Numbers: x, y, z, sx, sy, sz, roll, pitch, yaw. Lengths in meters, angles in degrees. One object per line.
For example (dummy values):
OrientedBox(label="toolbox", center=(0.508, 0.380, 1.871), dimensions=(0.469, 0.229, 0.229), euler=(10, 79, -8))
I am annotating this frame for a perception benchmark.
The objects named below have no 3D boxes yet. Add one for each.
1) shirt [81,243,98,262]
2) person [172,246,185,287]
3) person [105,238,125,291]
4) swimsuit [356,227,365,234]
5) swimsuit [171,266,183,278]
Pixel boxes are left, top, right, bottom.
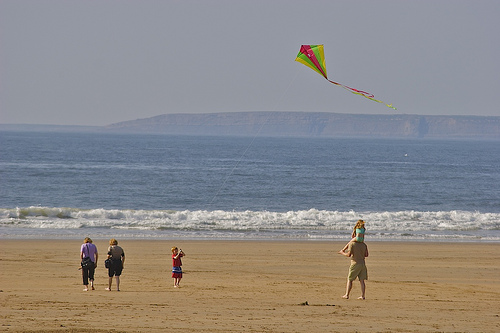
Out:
OrientedBox(label="shirt", center=(-12.210, 6.511, 81.258), dimensions=(1.780, 1.747, 0.996), euler=(-1, 4, -5))
OrientedBox(label="person", center=(-5.560, 7.601, 82.055), dimensions=(0.916, 3.003, 0.872), euler=(3, -5, -4))
OrientedBox(label="person", center=(-10.208, 7.372, 81.119), dimensions=(1.141, 3.939, 1.075), euler=(0, -6, 22))
OrientedBox(label="swimsuit", center=(8.134, 4.688, 79.524), dimensions=(0.579, 0.483, 0.224), euler=(2, -5, 0))
OrientedBox(label="swimsuit", center=(-5.565, 8.046, 81.993), dimensions=(0.994, 0.955, 0.725), euler=(3, -11, -16))
